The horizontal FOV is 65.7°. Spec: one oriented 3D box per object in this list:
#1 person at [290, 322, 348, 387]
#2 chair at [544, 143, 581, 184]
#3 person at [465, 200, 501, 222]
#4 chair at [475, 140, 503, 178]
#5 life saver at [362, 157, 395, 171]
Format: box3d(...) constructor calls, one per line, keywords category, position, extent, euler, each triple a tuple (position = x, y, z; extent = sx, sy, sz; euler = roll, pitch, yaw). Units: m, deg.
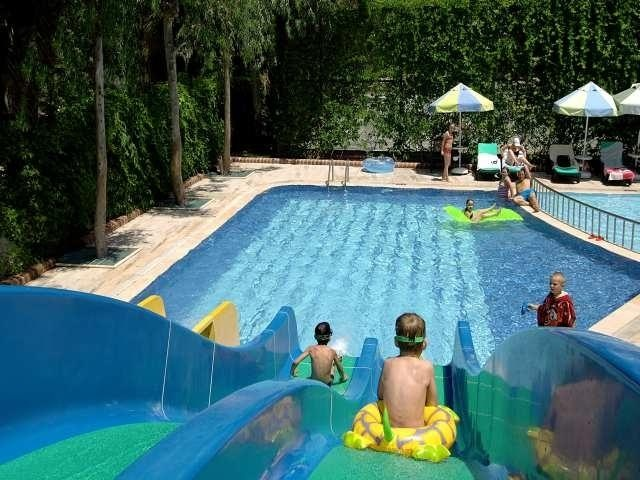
box3d(category="person", position=(-0.007, 1.569, 6.602), extent=(0.646, 1.045, 0.658), euler=(4, 8, 7))
box3d(category="chair", position=(8.836, -2.520, 17.946), extent=(0.730, 1.312, 0.673), euler=(6, -18, -44))
box3d(category="person", position=(4.617, -0.885, 14.319), extent=(0.807, 0.564, 0.985), euler=(12, 20, 42))
box3d(category="chair", position=(6.381, -3.036, 18.804), extent=(1.014, 1.292, 1.900), euler=(7, -21, 21))
box3d(category="life saver", position=(2.270, -2.898, 19.410), extent=(1.229, 0.551, 0.737), euler=(1, 14, 7))
